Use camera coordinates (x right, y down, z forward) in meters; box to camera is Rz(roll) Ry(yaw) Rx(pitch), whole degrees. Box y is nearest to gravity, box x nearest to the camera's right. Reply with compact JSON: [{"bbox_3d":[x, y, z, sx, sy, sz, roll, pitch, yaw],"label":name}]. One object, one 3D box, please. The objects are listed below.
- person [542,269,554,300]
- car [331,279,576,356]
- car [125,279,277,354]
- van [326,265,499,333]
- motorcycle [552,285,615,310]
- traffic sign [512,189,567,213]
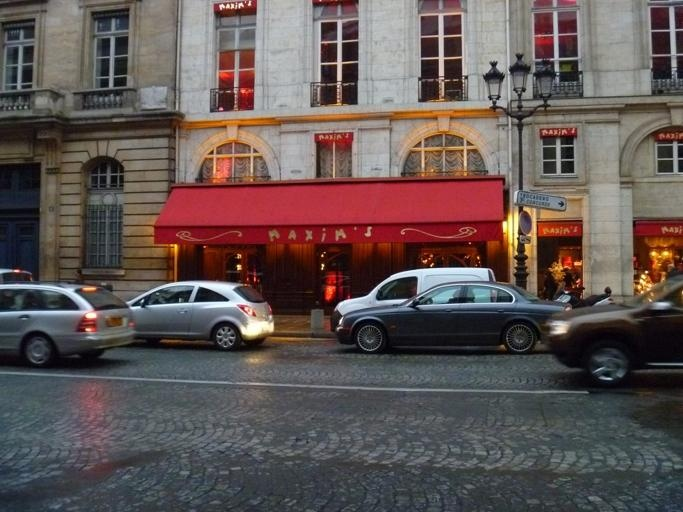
[{"bbox_3d":[6.526,0.917,26.552,0.356,0.833,0.298,2,8,0],"label":"person"},{"bbox_3d":[2.493,1.480,20.192,4.789,1.188,1.898,1,-5,6],"label":"car"},{"bbox_3d":[-3.536,1.455,21.150,3.155,1.136,1.708,2,-2,8],"label":"car"},{"bbox_3d":[1.859,1.086,21.787,3.860,1.372,1.766,0,-3,10],"label":"van"},{"bbox_3d":[6.450,1.193,21.957,1.984,0.887,0.926,0,-1,1],"label":"motorcycle"},{"bbox_3d":[5.167,-1.448,22.157,1.504,0.572,0.310,-7,14,-25],"label":"traffic sign"}]
